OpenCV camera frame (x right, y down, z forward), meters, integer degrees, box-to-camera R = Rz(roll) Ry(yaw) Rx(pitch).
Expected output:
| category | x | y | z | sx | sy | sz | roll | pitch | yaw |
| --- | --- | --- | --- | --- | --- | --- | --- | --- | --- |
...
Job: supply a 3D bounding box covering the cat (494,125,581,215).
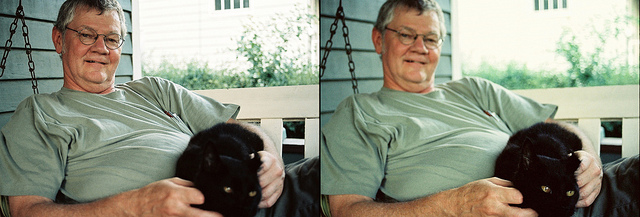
| category | x | y | z | sx | sy | sz | roll | pitch | yaw |
| --- | --- | --- | --- | --- | --- | --- | --- | --- | --- |
| cat | 3.148 | 0.783 | 6.088 | 0.989 | 0.912 | 1.343 | -16 | 14 | 5 |
